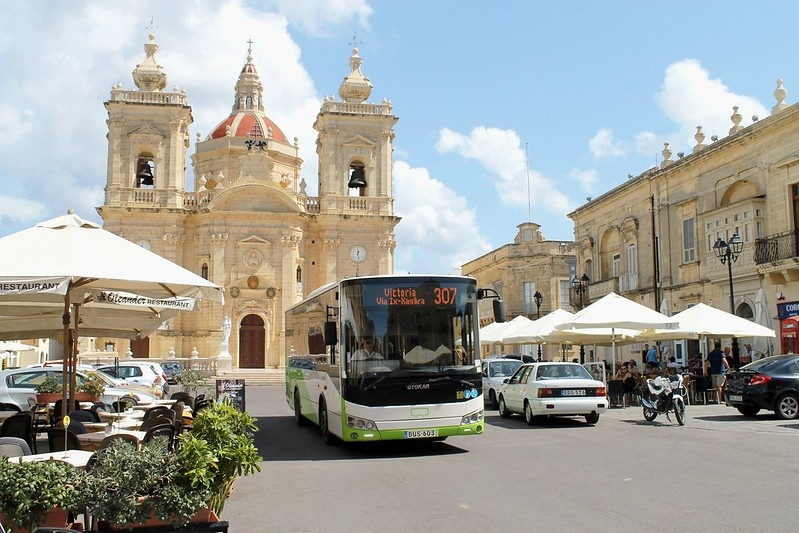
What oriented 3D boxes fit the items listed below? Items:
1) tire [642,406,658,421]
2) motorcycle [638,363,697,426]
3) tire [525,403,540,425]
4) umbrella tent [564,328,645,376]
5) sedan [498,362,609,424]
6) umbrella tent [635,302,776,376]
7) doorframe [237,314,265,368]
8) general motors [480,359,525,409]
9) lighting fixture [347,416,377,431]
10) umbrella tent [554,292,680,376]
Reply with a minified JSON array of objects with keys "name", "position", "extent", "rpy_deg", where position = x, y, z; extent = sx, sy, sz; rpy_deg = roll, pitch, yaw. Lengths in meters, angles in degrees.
[{"name":"tire","position":[7.445,4.354,25.317],"extent":[0.178,0.444,0.453],"rpy_deg":[13,2,-44]},{"name":"motorcycle","position":[7.782,3.839,25.148],"extent":[1.095,1.499,2.070],"rpy_deg":[0,-2,3]},{"name":"tire","position":[3.784,4.198,24.379],"extent":[0.291,0.749,0.764],"rpy_deg":[4,-1,-12]},{"name":"umbrella tent","position":[6.954,3.163,32.210],"extent":[2.586,1.657,2.674],"rpy_deg":[-8,-7,39]},{"name":"sedan","position":[4.356,3.700,24.957],"extent":[1.854,1.780,2.963],"rpy_deg":[1,-2,-27]},{"name":"umbrella tent","position":[10.982,2.041,30.928],"extent":[4.521,1.203,4.636],"rpy_deg":[-2,-7,20]},{"name":"doorframe","position":[-9.578,4.807,54.965],"extent":[1.551,3.421,0.702],"rpy_deg":[0,-2,-3]},{"name":"general motors","position":[3.528,4.007,30.153],"extent":[1.621,1.351,2.863],"rpy_deg":[1,-11,-10]},{"name":"lighting fixture","position":[-0.889,3.603,19.513],"extent":[0.665,0.289,0.094],"rpy_deg":[-1,-2,11]},{"name":"umbrella tent","position":[7.267,1.785,29.520],"extent":[4.323,1.753,4.257],"rpy_deg":[-2,-2,4]}]
